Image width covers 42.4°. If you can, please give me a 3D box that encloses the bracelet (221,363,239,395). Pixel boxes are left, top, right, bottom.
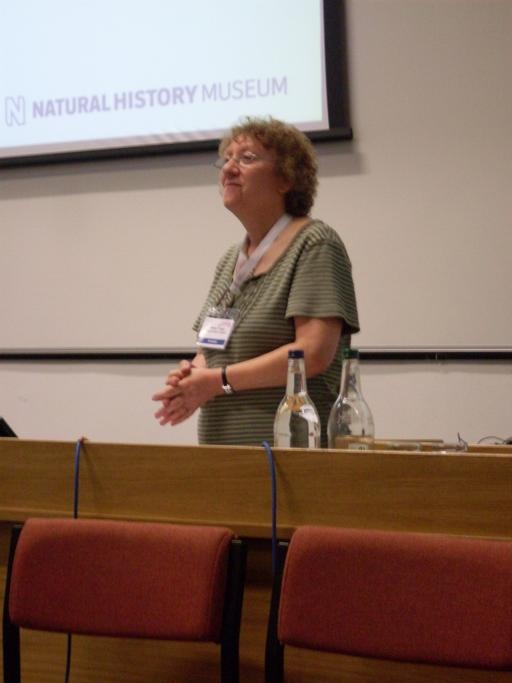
[{"bbox_3d":[-0.052,0.071,1.192,0.025,0.052,0.030,-4,12,9],"label":"bracelet"}]

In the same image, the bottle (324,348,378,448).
[{"bbox_3d":[0.129,0.082,0.929,0.064,0.141,0.260,-4,12,8],"label":"bottle"}]

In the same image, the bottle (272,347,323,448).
[{"bbox_3d":[0.054,0.081,0.898,0.059,0.131,0.062,-6,11,1],"label":"bottle"}]
